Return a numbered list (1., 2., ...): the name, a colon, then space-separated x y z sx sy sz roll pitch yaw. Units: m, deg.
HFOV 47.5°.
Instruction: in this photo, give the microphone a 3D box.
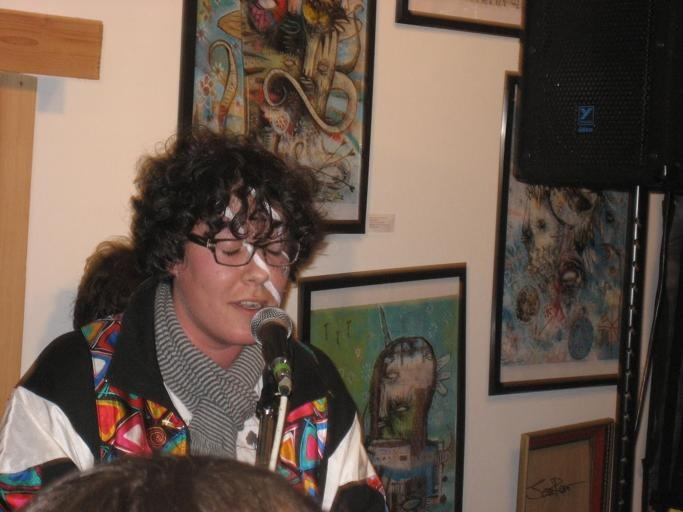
1. microphone: -0.176 0.238 1.965 0.103 0.197 0.190 1 1 -6
